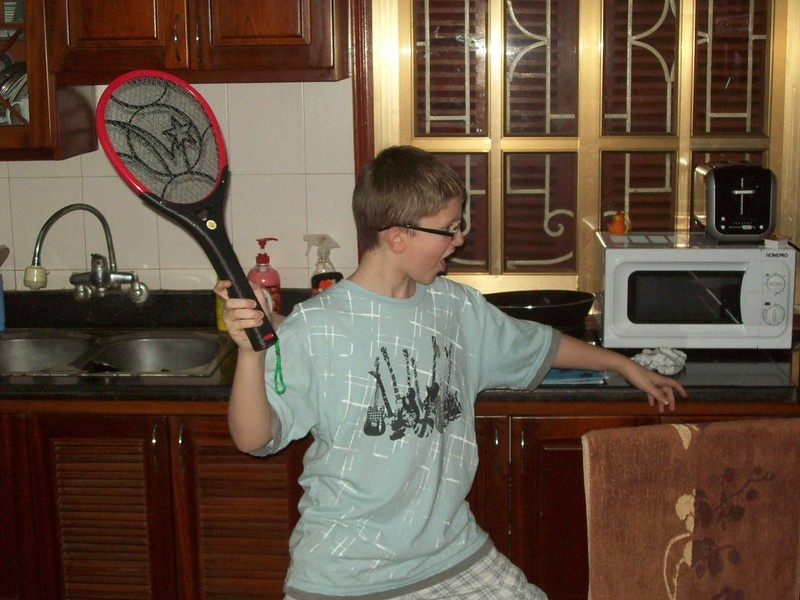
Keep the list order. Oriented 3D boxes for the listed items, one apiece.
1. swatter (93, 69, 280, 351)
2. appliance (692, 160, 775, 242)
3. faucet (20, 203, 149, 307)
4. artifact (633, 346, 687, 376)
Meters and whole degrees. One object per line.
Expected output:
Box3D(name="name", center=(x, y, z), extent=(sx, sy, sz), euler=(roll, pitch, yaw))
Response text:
Box3D(name="swatter", center=(-0.552, -0.225, 2.057), extent=(0.318, 0.800, 0.088), euler=(-16, -16, -46))
Box3D(name="appliance", center=(1.108, -0.313, 2.904), extent=(0.207, 0.269, 0.385), euler=(0, 5, 10))
Box3D(name="faucet", center=(-1.046, -0.111, 2.997), extent=(0.365, 0.368, 0.381), euler=(1, 0, 37))
Box3D(name="artifact", center=(0.809, 0.188, 2.685), extent=(0.104, 0.040, 0.104), euler=(-3, 8, -27))
